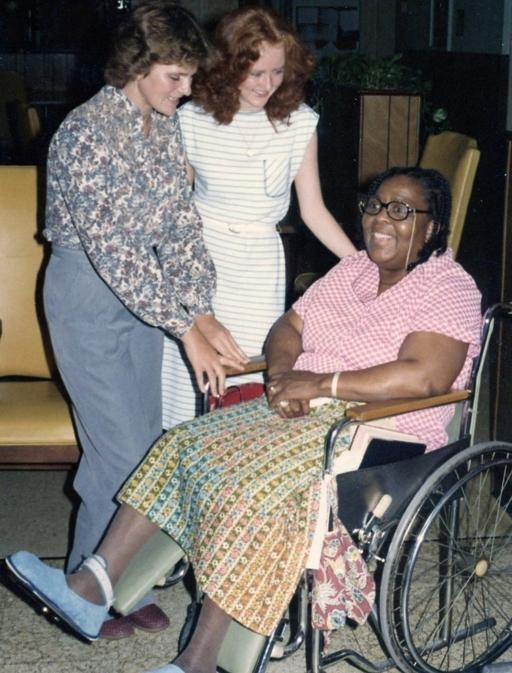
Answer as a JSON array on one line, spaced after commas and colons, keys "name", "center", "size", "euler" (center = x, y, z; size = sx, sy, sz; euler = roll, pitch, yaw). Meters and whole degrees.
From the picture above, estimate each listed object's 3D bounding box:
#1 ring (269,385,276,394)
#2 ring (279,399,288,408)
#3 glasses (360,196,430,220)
[{"name": "ring", "center": [0.048, 0.143, 1.960], "size": [0.015, 0.017, 0.007], "euler": [-13, -32, 34]}, {"name": "ring", "center": [0.077, 0.182, 1.941], "size": [0.020, 0.005, 0.019], "euler": [0, 29, 0]}, {"name": "glasses", "center": [0.372, -0.355, 1.973], "size": [0.112, 0.028, 0.106], "euler": [9, -1, -44]}]
